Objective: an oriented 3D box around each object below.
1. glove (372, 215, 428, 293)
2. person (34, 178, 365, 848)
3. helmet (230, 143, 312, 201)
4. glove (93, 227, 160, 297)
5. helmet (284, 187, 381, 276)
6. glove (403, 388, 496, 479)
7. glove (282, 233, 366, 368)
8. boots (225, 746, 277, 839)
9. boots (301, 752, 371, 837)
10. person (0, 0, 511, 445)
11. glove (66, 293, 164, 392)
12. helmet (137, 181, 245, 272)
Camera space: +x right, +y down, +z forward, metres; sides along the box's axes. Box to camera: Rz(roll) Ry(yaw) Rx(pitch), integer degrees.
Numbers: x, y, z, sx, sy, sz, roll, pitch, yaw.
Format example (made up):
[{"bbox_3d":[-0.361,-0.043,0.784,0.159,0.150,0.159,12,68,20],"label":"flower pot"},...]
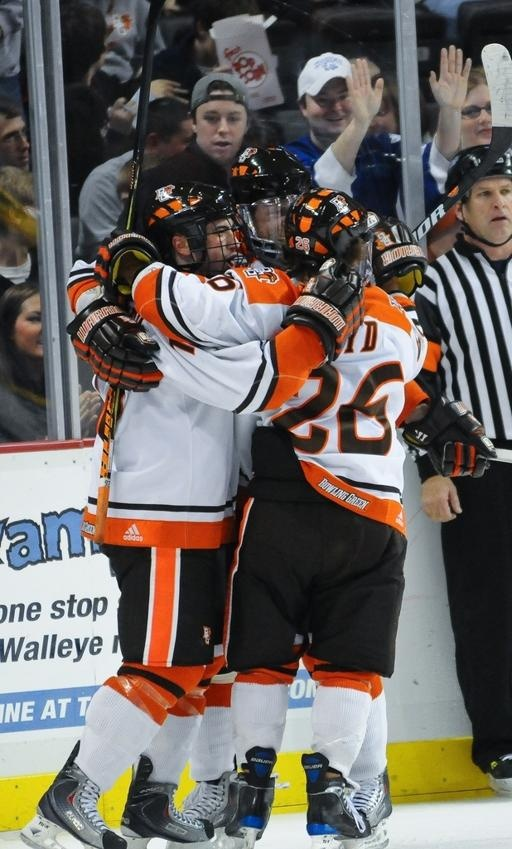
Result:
[{"bbox_3d":[0.359,-0.451,2.058,0.109,0.117,0.143,7,-22,-43],"label":"glove"},{"bbox_3d":[-0.119,0.249,3.246,1.459,2.952,1.174,-1,-1,-14],"label":"person"},{"bbox_3d":[0.019,-0.714,2.322,0.233,0.209,0.177,-12,12,-6],"label":"helmet"},{"bbox_3d":[-0.286,-0.366,1.834,0.135,0.156,0.156,-3,1,-6],"label":"glove"},{"bbox_3d":[0.160,-0.438,1.827,0.222,0.192,0.170,-2,14,-11],"label":"helmet"},{"bbox_3d":[0.560,0.050,2.307,0.280,0.190,0.125,35,-32,-15],"label":"glove"},{"bbox_3d":[0.150,-0.257,1.671,0.129,0.110,0.296,-23,21,30],"label":"glove"},{"bbox_3d":[-0.026,0.815,1.752,0.094,0.177,0.272,8,-6,-6],"label":"boots"},{"bbox_3d":[0.174,0.829,1.731,0.149,0.205,0.099,4,13,3],"label":"boots"},{"bbox_3d":[-0.049,-0.632,2.453,1.762,1.514,0.359,-9,8,-6],"label":"person"},{"bbox_3d":[-0.306,-0.172,1.784,0.233,0.107,0.148,36,47,26],"label":"glove"},{"bbox_3d":[-0.122,-0.473,1.888,0.258,0.227,0.217,4,18,34],"label":"helmet"}]
